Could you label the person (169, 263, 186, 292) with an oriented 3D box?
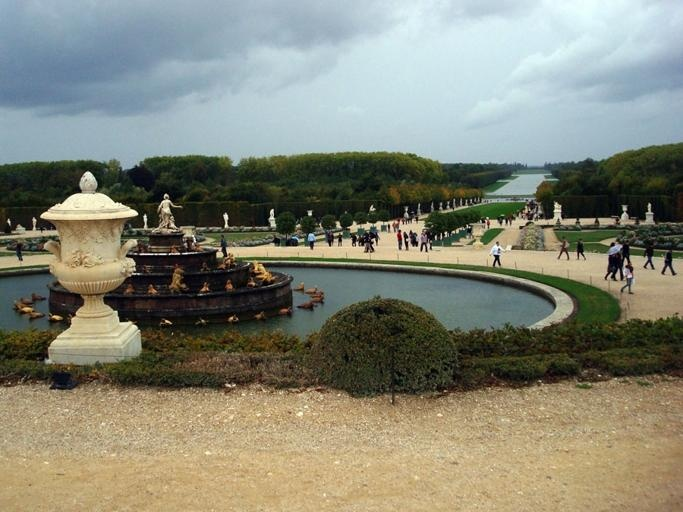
[{"bbox_3d":[-5.464,0.775,22.604,0.554,0.786,1.236,-4,4,-14],"label":"person"}]
